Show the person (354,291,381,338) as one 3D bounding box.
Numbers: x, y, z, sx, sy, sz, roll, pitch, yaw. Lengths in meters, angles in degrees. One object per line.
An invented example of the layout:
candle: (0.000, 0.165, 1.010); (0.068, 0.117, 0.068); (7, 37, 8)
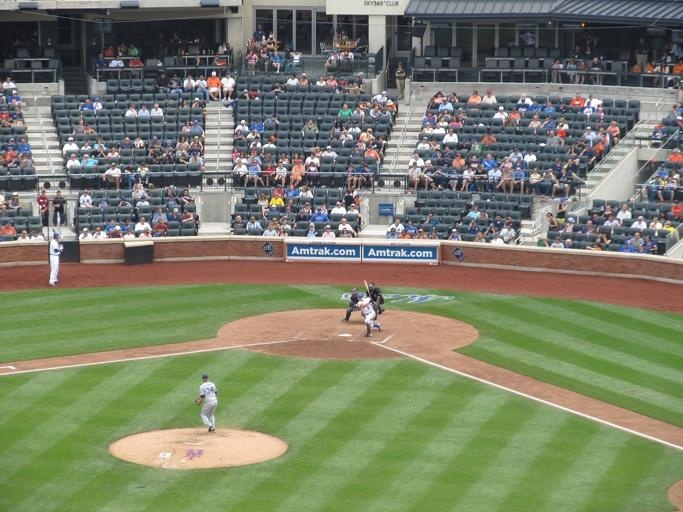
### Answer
person: (0.895, 1.900, 51.717); (0.805, 1.274, 1.334); (2, 13, 0)
